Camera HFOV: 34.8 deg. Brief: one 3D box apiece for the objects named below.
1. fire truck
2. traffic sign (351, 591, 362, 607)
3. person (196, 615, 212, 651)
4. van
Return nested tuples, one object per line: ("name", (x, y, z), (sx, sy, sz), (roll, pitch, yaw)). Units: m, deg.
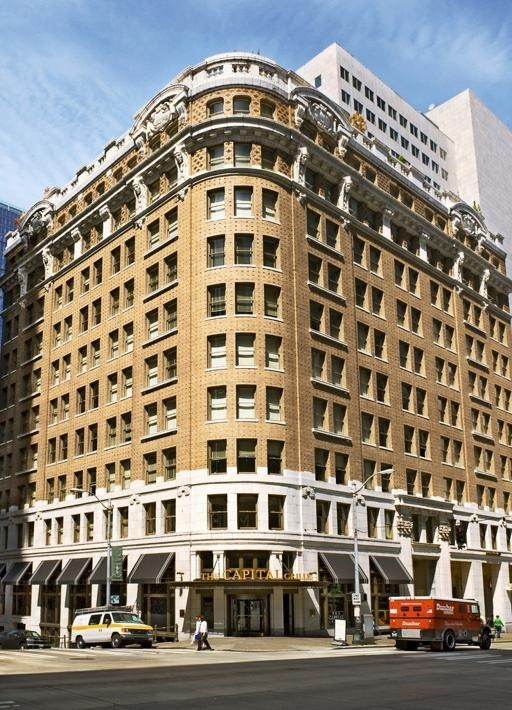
("fire truck", (8.438, 12.164, 37.261), (4.886, 2.144, 2.782), (11, -17, -43))
("traffic sign", (4.926, 12.070, 40.287), (0.406, 0.596, 1.149), (-2, -17, 6))
("person", (-2.316, 12.281, 35.977), (0.644, 1.401, 1.033), (1, -17, -3))
("van", (-6.849, 13.089, 39.145), (4.207, 1.836, 1.625), (-16, -23, 42))
